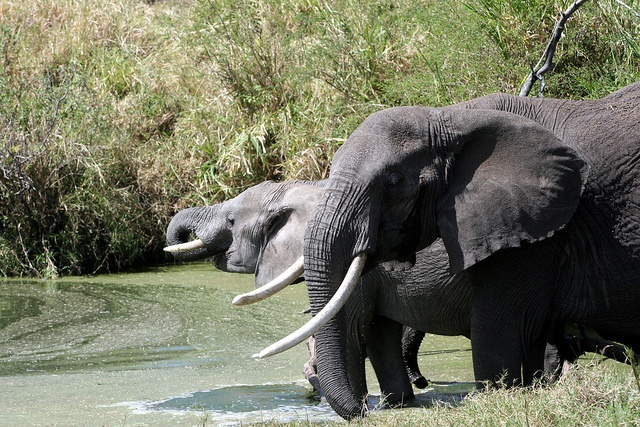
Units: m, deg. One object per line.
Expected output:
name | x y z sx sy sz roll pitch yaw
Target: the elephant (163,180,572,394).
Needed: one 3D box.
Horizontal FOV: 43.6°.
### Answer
elephant | 0.329 0.738 6.959 3.703 2.123 1.614 -1 10 26
